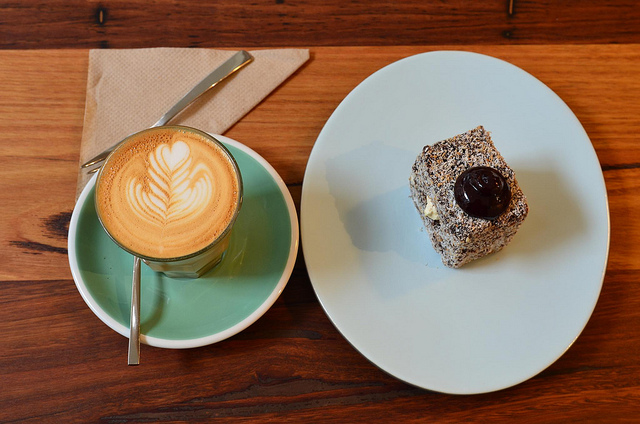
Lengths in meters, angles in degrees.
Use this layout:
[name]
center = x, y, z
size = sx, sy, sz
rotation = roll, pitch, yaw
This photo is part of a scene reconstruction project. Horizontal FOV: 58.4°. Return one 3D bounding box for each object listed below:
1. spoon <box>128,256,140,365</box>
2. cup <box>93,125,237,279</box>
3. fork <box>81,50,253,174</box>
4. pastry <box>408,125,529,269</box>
[spoon]
center = -0.459, 0.262, 1.417
size = 0.031, 0.318, 0.016
rotation = 5, 32, -15
[cup]
center = -0.382, 0.001, 1.526
size = 0.370, 0.272, 0.352
rotation = 0, 77, -2
[fork]
center = -0.422, -0.263, 1.557
size = 0.564, 0.064, 0.076
rotation = -33, 75, 0
[pastry]
center = 0.412, -0.051, 1.488
size = 0.291, 0.189, 0.321
rotation = -22, 78, -7
